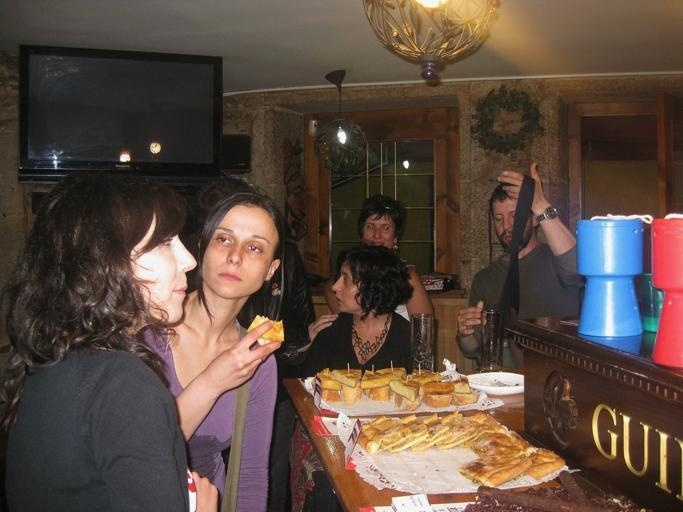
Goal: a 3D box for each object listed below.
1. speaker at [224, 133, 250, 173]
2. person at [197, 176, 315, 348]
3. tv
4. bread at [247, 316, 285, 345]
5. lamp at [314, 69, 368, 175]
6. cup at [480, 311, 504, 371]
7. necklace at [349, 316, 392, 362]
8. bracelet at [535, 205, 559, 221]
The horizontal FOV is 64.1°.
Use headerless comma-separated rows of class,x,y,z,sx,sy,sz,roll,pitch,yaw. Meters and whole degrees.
speaker,-0.930,-0.909,4.807,0.236,0.295,0.073,-2,3,-22
person,-0.465,0.102,2.883,0.769,1.077,0.375,1,4,-3
tv,-1.548,-0.978,3.739,1.300,0.917,0.135,1,10,-13
bread,-0.279,0.257,2.065,0.126,0.038,0.125,29,37,2
lamp,-0.032,-1.156,4.917,0.522,0.828,1.055,-1,2,3
cup,0.689,0.393,2.480,0.095,0.306,0.190,0,3,15
necklace,0.171,0.471,3.005,0.227,0.264,0.036,4,-24,8
bracelet,1.096,-0.216,2.935,0.111,0.076,0.099,-20,0,-23
